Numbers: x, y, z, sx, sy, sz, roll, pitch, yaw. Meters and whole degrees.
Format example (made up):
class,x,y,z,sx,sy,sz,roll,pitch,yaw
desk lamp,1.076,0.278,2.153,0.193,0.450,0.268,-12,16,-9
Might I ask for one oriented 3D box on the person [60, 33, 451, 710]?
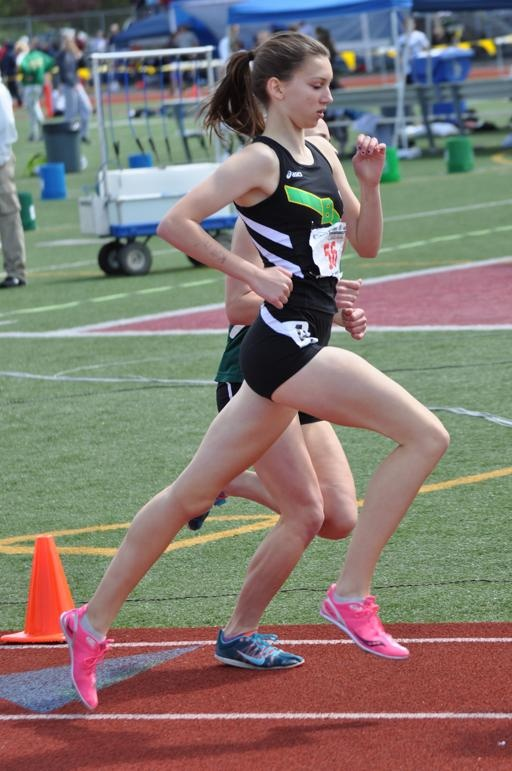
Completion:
class,x,y,z,sx,sy,sz,roll,pitch,yaw
person,-0.016,-0.112,2.250,0.936,1.554,0.517,-6,9,7

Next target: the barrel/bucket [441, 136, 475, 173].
class,x,y,z,sx,sy,sz,roll,pitch,yaw
barrel/bucket,3.809,-4.323,16.317,0.822,0.708,0.724,0,9,8

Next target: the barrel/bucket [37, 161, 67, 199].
class,x,y,z,sx,sy,sz,roll,pitch,yaw
barrel/bucket,-3.971,-3.919,16.884,0.817,0.691,0.689,-1,11,-6

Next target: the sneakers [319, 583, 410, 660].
class,x,y,z,sx,sy,sz,roll,pitch,yaw
sneakers,0.263,0.589,2.153,0.226,0.192,0.105,-3,9,16

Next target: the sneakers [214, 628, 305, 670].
class,x,y,z,sx,sy,sz,roll,pitch,yaw
sneakers,0.000,0.768,2.538,0.323,0.104,0.094,2,-2,4
